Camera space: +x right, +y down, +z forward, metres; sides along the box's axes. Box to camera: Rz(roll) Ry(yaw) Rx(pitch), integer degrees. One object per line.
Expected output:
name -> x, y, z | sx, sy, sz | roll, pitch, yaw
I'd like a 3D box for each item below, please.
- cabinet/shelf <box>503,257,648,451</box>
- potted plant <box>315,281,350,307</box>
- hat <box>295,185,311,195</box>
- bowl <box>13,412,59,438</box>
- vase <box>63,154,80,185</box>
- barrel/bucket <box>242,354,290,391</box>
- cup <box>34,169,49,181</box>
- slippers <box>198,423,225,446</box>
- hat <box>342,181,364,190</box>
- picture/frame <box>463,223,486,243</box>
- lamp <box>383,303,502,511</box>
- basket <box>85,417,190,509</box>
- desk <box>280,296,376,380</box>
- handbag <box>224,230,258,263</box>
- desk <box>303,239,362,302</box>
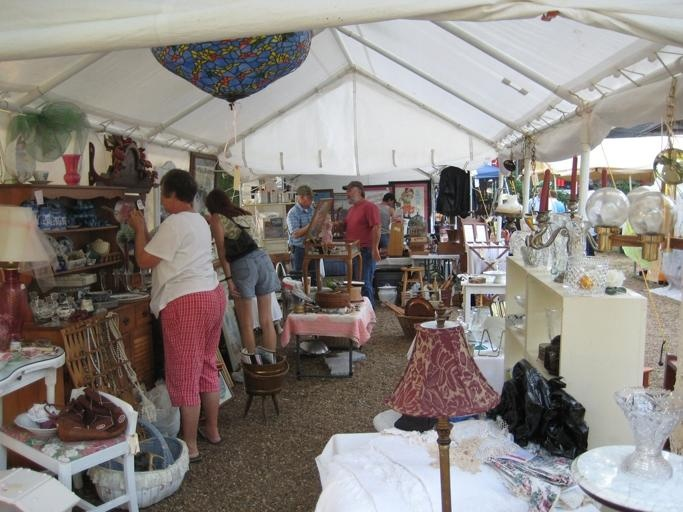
cabinet/shelf -> 1.316, 0.572, 2.911 | 0.306, 0.924, 0.981 | -1, 5, 5
potted plant -> -0.088, 0.404, 5.663 | 0.276, 0.201, 0.281 | 0, 0, 32
hat -> -0.541, -0.956, 7.451 | 0.194, 0.138, 0.364 | -1, 9, -3
bowl -> -1.827, 1.002, 3.052 | 0.162, 0.040, 0.164 | 17, 5, -1
vase -> -2.272, -0.729, 4.324 | 0.142, 0.261, 0.252 | -5, 10, -28
barrel/bucket -> -0.687, 1.028, 4.580 | 0.290, 0.194, 0.309 | 0, -3, 0
cup -> -2.371, -0.635, 4.049 | 0.057, 0.090, 0.157 | -1, 9, -4
slippers -> -1.110, 1.497, 4.311 | 0.279, 0.112, 0.104 | 2, -2, 39
hat -> 0.153, -1.002, 7.265 | 0.292, 0.118, 0.192 | 0, 2, 8
picture/frame -> 2.238, -0.385, 8.512 | 0.413, 0.287, 0.368 | -1, 9, 0
lamp -> 0.418, 0.707, 2.115 | 0.457, 0.977, 0.334 | -2, 9, -6
basket -> -1.343, 1.351, 3.587 | 0.460, 0.482, 0.664 | 1, -3, 16
desk -> -0.150, 0.743, 5.647 | 0.808, 0.522, 1.050 | 1, 2, 7
handbag -> -1.015, -0.098, 5.051 | 0.246, 0.266, 0.141 | -9, 32, -9
desk -> -0.132, 0.145, 6.115 | 0.685, 0.801, 0.724 | 1, 2, 11
